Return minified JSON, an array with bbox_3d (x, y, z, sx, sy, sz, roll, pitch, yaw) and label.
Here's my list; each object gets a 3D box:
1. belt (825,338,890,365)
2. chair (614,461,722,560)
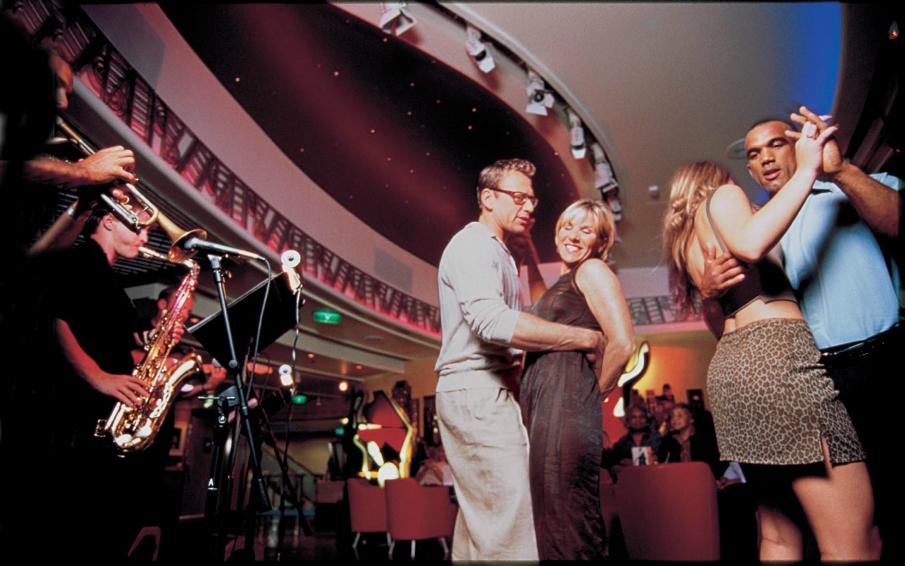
[{"bbox_3d":[2.194,0.367,2.884,0.193,0.047,0.180,-13,-14,-24],"label":"belt"},{"bbox_3d":[1.576,1.654,4.055,0.880,0.809,0.673,-13,-34,27],"label":"chair"}]
